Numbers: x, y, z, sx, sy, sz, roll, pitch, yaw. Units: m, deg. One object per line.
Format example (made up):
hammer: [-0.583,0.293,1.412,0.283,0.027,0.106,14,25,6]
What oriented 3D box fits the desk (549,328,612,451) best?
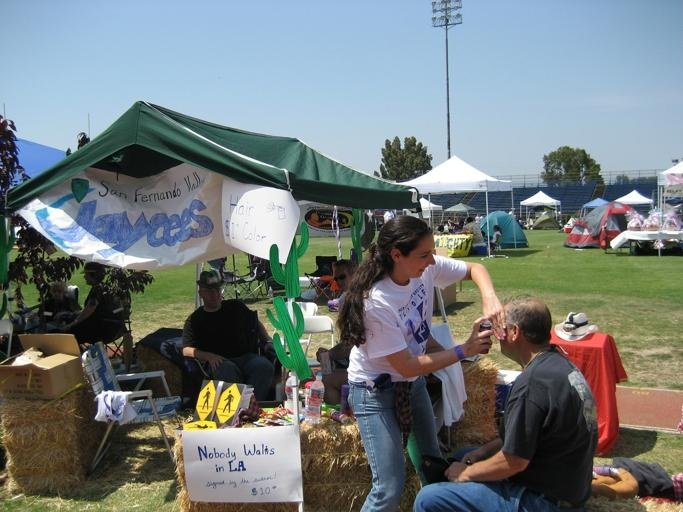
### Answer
desk: [2.354,1.369,6.181,0.933,1.095,0.937,-5,-2,26]

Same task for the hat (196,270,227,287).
hat: [-1.680,0.296,7.788,0.416,0.225,0.551,-2,-7,-20]

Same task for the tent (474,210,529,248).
tent: [7.044,-1.144,26.947,1.969,1.491,2.008,-6,6,-36]

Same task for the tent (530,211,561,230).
tent: [14.774,-2.427,44.747,1.715,0.855,1.951,-4,3,-42]

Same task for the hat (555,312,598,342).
hat: [2.425,0.729,6.250,0.268,0.153,0.344,2,9,39]

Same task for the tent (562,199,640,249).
tent: [10.477,-1.164,24.961,2.106,1.045,2.027,-17,11,-34]

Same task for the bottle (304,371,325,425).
bottle: [-0.249,1.253,5.394,0.184,0.386,0.479,-3,3,-4]

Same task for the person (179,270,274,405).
person: [-1.285,0.912,6.847,1.055,1.447,1.032,-3,3,0]
